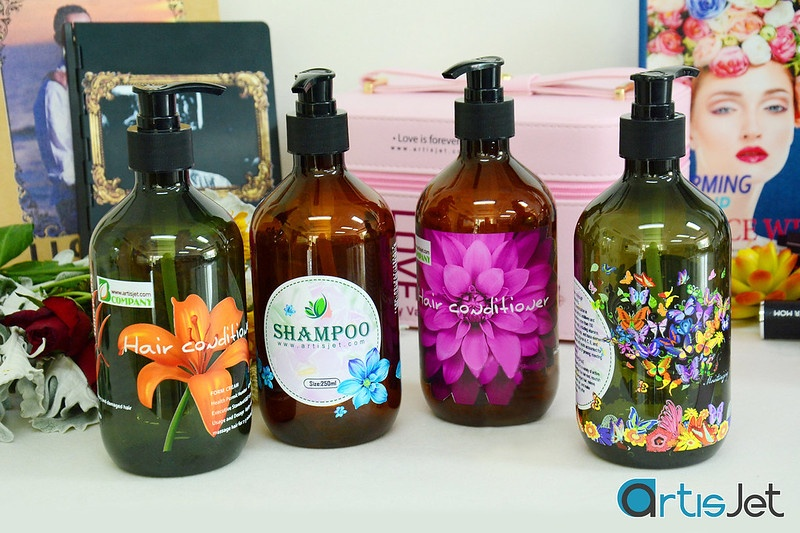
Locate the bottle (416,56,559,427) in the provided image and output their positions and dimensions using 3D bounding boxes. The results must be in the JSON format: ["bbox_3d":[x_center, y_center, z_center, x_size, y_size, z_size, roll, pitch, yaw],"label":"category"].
[{"bbox_3d":[0.087,0.021,0.742,0.134,0.288,0.073,-2,18,2],"label":"bottle"}]

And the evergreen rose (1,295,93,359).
[{"bbox_3d":[-0.359,0.058,0.760,0.069,0.035,0.067,5,6,14],"label":"evergreen rose"}]

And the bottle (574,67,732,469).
[{"bbox_3d":[0.226,0.007,0.666,0.132,0.353,0.098,-3,18,2],"label":"bottle"}]

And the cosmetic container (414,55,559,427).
[{"bbox_3d":[0.087,0.021,0.742,0.134,0.288,0.073,-2,18,2],"label":"cosmetic container"}]

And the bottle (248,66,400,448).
[{"bbox_3d":[-0.076,-0.003,0.754,0.164,0.352,0.149,0,18,2],"label":"bottle"}]
